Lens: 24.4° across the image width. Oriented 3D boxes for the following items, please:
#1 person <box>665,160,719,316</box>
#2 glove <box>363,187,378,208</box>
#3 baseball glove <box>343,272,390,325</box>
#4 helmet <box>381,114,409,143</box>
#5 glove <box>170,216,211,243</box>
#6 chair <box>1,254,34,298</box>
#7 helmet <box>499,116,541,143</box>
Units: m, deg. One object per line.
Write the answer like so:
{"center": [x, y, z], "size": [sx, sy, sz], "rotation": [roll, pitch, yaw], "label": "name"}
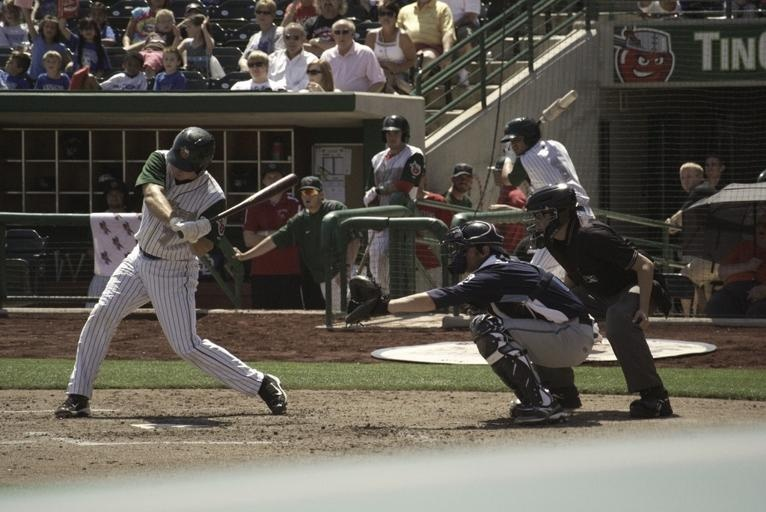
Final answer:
{"center": [4.588, -0.226, 26.771], "size": [0.870, 1.966, 0.806], "rotation": [2, 2, 25], "label": "person"}
{"center": [-0.234, -0.881, 26.007], "size": [0.128, 0.252, 0.213], "rotation": [5, -15, 6], "label": "glove"}
{"center": [-0.229, 0.510, 20.766], "size": [0.513, 0.536, 0.326], "rotation": [-2, 15, 0], "label": "baseball glove"}
{"center": [0.144, -1.885, 25.708], "size": [0.398, 0.302, 0.445], "rotation": [6, 20, 17], "label": "helmet"}
{"center": [-2.266, -0.319, 20.744], "size": [0.397, 0.287, 0.150], "rotation": [-5, -31, -9], "label": "glove"}
{"center": [-5.407, 0.298, 26.246], "size": [0.392, 0.537, 0.232], "rotation": [-5, 16, -12], "label": "chair"}
{"center": [1.781, -1.687, 23.643], "size": [0.522, 0.255, 0.343], "rotation": [-5, 10, -4], "label": "helmet"}
